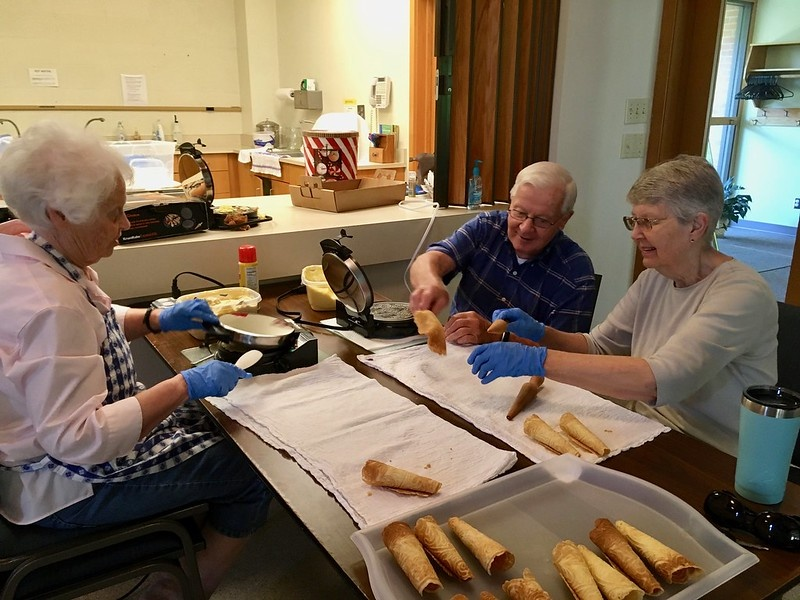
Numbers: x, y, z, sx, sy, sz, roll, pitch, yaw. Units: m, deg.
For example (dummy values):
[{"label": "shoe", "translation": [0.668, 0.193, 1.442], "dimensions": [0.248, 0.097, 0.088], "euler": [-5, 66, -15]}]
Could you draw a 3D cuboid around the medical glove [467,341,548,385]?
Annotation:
[{"label": "medical glove", "translation": [0.306, 0.168, 1.471], "dimensions": [0.183, 0.108, 0.075], "euler": [-10, 8, 14]}]

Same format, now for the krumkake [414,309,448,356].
[{"label": "krumkake", "translation": [0.096, 0.112, 1.773], "dimensions": [0.040, 0.092, 0.147], "euler": [-22, 35, -19]}]

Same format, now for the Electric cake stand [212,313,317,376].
[{"label": "Electric cake stand", "translation": [-0.413, 0.129, 1.667], "dimensions": [0.230, 0.096, 0.199], "euler": [-1, 20, -30]}]

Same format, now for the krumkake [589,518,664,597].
[{"label": "krumkake", "translation": [0.408, 0.465, 0.969], "dimensions": [0.044, 0.040, 0.149], "euler": [-13, 35, -15]}]

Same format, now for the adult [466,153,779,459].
[{"label": "adult", "translation": [0.699, 0.058, 1.726], "dimensions": [0.961, 1.018, 0.744], "euler": [-1, 8, -18]}]

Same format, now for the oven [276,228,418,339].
[{"label": "oven", "translation": [-0.132, -0.095, 2.018], "dimensions": [0.512, 0.463, 0.297], "euler": [-9, 25, -39]}]

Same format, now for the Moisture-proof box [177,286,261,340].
[{"label": "Moisture-proof box", "translation": [-0.657, 0.018, 2.007], "dimensions": [0.235, 0.082, 0.209], "euler": [-13, 24, -38]}]

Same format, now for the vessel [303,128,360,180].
[{"label": "vessel", "translation": [-0.392, -0.885, 3.235], "dimensions": [0.316, 0.362, 0.321], "euler": [-2, 19, -5]}]

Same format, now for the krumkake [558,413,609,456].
[{"label": "krumkake", "translation": [0.449, 0.330, 1.316], "dimensions": [0.046, 0.045, 0.140], "euler": [-26, 36, -15]}]

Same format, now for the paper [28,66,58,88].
[{"label": "paper", "translation": [-3.546, -2.200, 5.254], "dimensions": [0.228, 0.172, 0.012], "euler": [-6, 11, -39]}]

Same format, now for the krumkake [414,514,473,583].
[{"label": "krumkake", "translation": [0.073, 0.451, 0.974], "dimensions": [0.046, 0.048, 0.152], "euler": [-17, 35, -20]}]

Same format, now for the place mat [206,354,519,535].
[{"label": "place mat", "translation": [-0.096, 0.356, 1.346], "dimensions": [0.285, 0.048, 0.519], "euler": [-6, 22, -39]}]

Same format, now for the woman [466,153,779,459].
[{"label": "woman", "translation": [0.565, -0.058, 1.848], "dimensions": [0.971, 1.043, 0.762], "euler": [0, 10, -4]}]

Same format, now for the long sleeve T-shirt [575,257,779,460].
[{"label": "long sleeve T-shirt", "translation": [0.848, 0.088, 1.701], "dimensions": [0.470, 0.647, 0.663], "euler": [0, 13, -5]}]

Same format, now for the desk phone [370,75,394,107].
[{"label": "desk phone", "translation": [-0.152, -1.858, 4.741], "dimensions": [0.243, 0.341, 0.174], "euler": [13, 23, 36]}]

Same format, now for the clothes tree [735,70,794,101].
[{"label": "clothes tree", "translation": [1.978, -1.147, 2.872], "dimensions": [0.050, 0.149, 0.278], "euler": [-12, 20, -20]}]

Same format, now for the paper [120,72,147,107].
[{"label": "paper", "translation": [-2.858, -2.257, 5.679], "dimensions": [0.353, 0.496, 0.050], "euler": [2, 4, 13]}]

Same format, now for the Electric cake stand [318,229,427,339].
[{"label": "Electric cake stand", "translation": [-0.142, -0.077, 1.978], "dimensions": [0.393, 0.407, 0.343], "euler": [-7, 25, -38]}]

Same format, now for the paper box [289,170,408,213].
[{"label": "paper box", "translation": [-0.259, -0.625, 3.083], "dimensions": [0.442, 0.167, 0.324], "euler": [-17, 28, -35]}]

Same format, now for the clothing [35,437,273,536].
[{"label": "clothing", "translation": [-0.647, 0.534, 1.512], "dimensions": [0.403, 0.110, 0.448], "euler": [-9, 3, 19]}]

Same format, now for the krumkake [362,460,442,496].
[{"label": "krumkake", "translation": [0.005, 0.394, 1.202], "dimensions": [0.169, 0.048, 0.070], "euler": [14, 34, 1]}]

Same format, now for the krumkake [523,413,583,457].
[{"label": "krumkake", "translation": [0.372, 0.331, 1.306], "dimensions": [0.052, 0.052, 0.151], "euler": [-37, 36, -7]}]
